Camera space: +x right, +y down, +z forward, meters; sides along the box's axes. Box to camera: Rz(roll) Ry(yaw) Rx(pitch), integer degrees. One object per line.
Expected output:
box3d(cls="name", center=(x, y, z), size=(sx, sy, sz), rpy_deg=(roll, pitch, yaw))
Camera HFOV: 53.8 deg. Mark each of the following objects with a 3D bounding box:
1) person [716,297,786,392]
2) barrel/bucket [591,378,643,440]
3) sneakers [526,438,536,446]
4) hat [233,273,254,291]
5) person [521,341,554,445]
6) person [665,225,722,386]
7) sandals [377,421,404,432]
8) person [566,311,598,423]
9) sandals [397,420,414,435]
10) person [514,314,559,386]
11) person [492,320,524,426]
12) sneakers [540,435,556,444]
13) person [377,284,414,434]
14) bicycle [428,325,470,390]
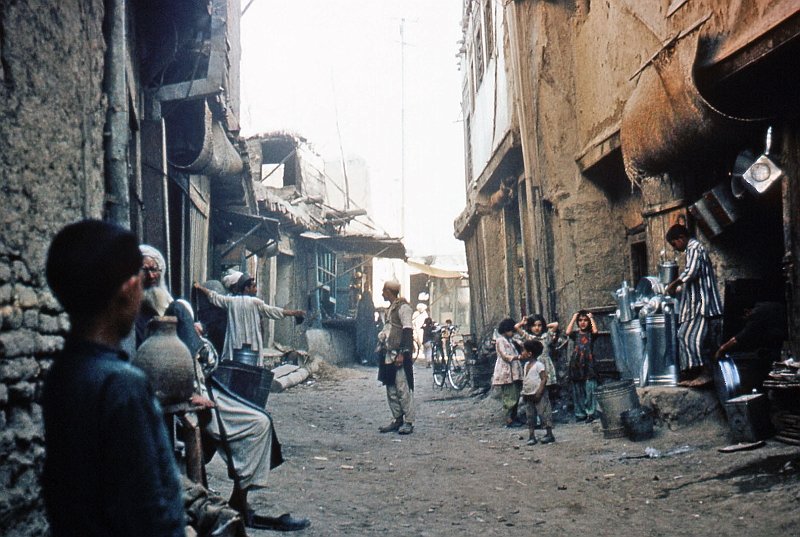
box3d(cls="person", center=(3.813, 0.839, 8.485), size=(0.784, 0.915, 0.246), rpy_deg=(-3, 2, -5))
box3d(cls="barrel/bucket", center=(2.548, 1.680, 9.363), size=(0.541, 0.680, 0.609), rpy_deg=(-2, -10, 0))
box3d(cls="sneakers", center=(1.625, 2.129, 9.726), size=(0.136, 0.086, 0.185), rpy_deg=(-3, 1, 11))
box3d(cls="hat", center=(-1.703, 0.169, 8.606), size=(0.181, 0.209, 0.145), rpy_deg=(9, 1, -35))
box3d(cls="person", center=(1.725, 1.531, 9.936), size=(0.359, 1.238, 0.587), rpy_deg=(-2, 2, 8))
box3d(cls="person", center=(3.377, 0.423, 9.049), size=(0.712, 1.848, 0.590), rpy_deg=(-3, 2, 2))
box3d(cls="sandals", center=(-0.130, 2.211, 11.026), size=(0.385, 0.192, 0.135), rpy_deg=(-1, 2, 0))
box3d(cls="person", center=(2.533, 1.333, 10.826), size=(0.392, 1.468, 0.850), rpy_deg=(-3, 2, -17))
box3d(cls="sandals", center=(0.078, 2.208, 10.907), size=(0.222, 0.156, 0.326), rpy_deg=(-3, 1, 4))
box3d(cls="person", center=(1.960, 1.318, 11.209), size=(0.566, 1.238, 0.480), rpy_deg=(-2, -27, 11))
box3d(cls="person", center=(1.590, 1.456, 11.578), size=(0.398, 1.476, 1.505), rpy_deg=(-2, 1, 9))
box3d(cls="sneakers", center=(1.828, 2.095, 9.749), size=(0.179, 0.101, 0.199), rpy_deg=(-3, 1, 13))
box3d(cls="person", center=(-0.069, 1.245, 11.091), size=(0.515, 2.111, 0.699), rpy_deg=(-3, 2, -1))
box3d(cls="bicycle", center=(1.094, 1.903, 16.485), size=(0.673, 0.942, 1.455), rpy_deg=(0, -6, -7))
